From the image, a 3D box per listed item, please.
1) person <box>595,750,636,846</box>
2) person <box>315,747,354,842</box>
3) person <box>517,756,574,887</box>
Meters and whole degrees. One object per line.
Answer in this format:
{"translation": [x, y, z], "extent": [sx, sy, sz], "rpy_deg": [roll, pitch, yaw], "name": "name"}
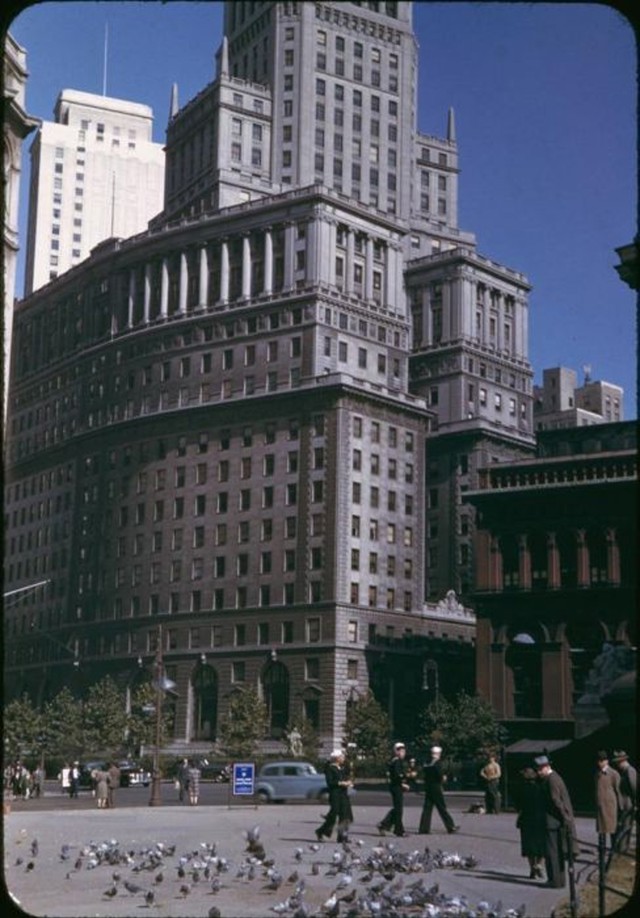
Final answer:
{"translation": [4.725, 5.457, 22.890], "extent": [0.632, 1.568, 2.220], "rpy_deg": [-2, -9, 12], "name": "person"}
{"translation": [0.468, 6.275, 26.773], "extent": [0.673, 2.555, 0.904], "rpy_deg": [0, -9, -16], "name": "person"}
{"translation": [3.365, 5.405, 21.454], "extent": [0.779, 2.203, 0.751], "rpy_deg": [0, -11, 3], "name": "person"}
